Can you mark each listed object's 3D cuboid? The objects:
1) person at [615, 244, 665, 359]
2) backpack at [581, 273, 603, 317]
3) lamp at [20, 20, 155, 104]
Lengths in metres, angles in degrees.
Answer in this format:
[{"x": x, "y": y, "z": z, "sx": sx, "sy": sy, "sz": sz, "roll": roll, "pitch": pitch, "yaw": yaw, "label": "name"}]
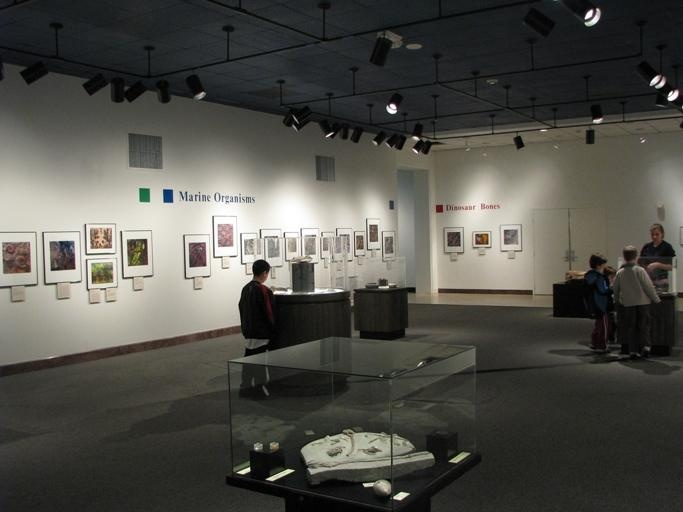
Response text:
[{"x": 4.627, "y": 0.749, "z": 8.209, "sx": 0.609, "sy": 1.748, "sz": 0.390, "roll": 3, "pitch": 9, "yaw": 31, "label": "person"}, {"x": 4.108, "y": 0.644, "z": 8.585, "sx": 0.202, "sy": 0.601, "sz": 0.413, "roll": 0, "pitch": 1, "yaw": 10, "label": "backpack"}, {"x": -3.815, "y": -2.824, "z": 7.904, "sx": 1.025, "sy": 0.800, "sz": 1.654, "roll": 4, "pitch": 10, "yaw": 31, "label": "lamp"}]
